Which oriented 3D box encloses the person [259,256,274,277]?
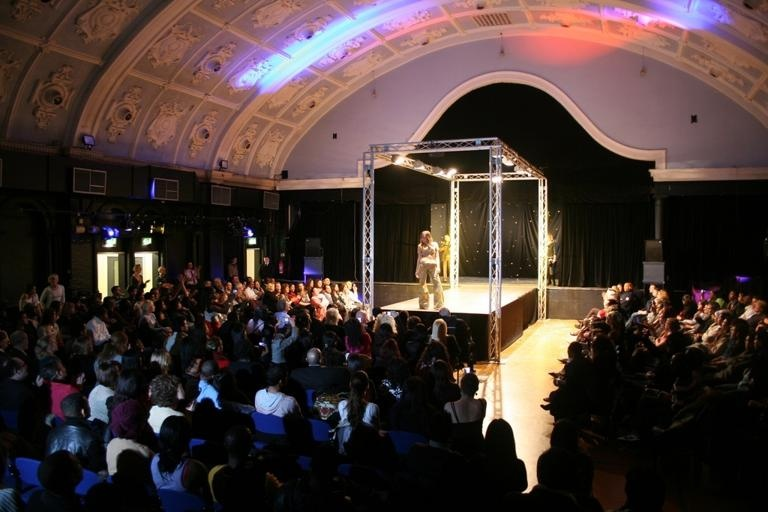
[{"bbox_3d":[-4.225,0.404,20.582,0.399,0.834,0.582,1,-3,2],"label":"person"}]

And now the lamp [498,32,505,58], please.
[{"bbox_3d":[3.887,-6.982,18.681,0.208,0.659,0.254,1,-3,8],"label":"lamp"}]

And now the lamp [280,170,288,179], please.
[{"bbox_3d":[-3.674,-3.055,21.243,0.299,0.287,0.072,0,0,-1],"label":"lamp"}]

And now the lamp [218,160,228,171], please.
[{"bbox_3d":[-5.293,-3.033,18.890,0.305,0.393,0.317,-3,5,-6],"label":"lamp"}]

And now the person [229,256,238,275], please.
[{"bbox_3d":[-5.021,0.363,19.190,0.343,0.655,0.698,2,-3,-14],"label":"person"}]

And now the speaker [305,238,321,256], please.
[{"bbox_3d":[-2.359,-0.262,19.340,0.696,0.705,0.498,1,-2,-9],"label":"speaker"}]

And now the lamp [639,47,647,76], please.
[{"bbox_3d":[7.976,-6.046,17.602,0.213,0.754,0.479,0,-3,23],"label":"lamp"}]

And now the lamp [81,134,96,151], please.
[{"bbox_3d":[-7.693,-3.033,15.009,0.272,0.406,0.507,1,-3,11],"label":"lamp"}]

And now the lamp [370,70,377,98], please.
[{"bbox_3d":[-0.335,-5.954,19.954,0.212,0.657,0.247,1,-3,-2],"label":"lamp"}]
